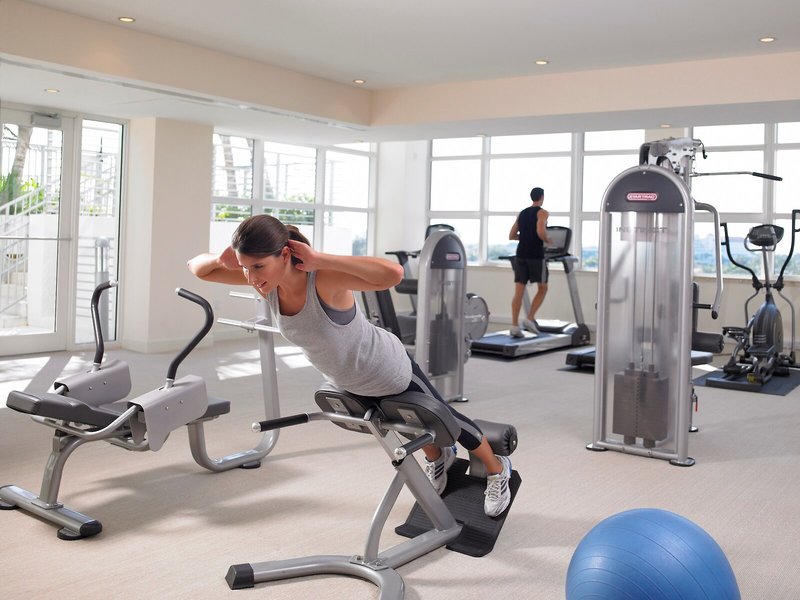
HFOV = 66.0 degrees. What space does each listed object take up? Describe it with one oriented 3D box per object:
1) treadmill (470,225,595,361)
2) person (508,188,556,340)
[{"bbox_3d":[1.596,-0.158,8.334,2.067,1.601,1.178,-6,9,-44],"label":"treadmill"},{"bbox_3d":[1.673,-0.501,8.030,0.532,1.948,0.562,3,9,9],"label":"person"}]
